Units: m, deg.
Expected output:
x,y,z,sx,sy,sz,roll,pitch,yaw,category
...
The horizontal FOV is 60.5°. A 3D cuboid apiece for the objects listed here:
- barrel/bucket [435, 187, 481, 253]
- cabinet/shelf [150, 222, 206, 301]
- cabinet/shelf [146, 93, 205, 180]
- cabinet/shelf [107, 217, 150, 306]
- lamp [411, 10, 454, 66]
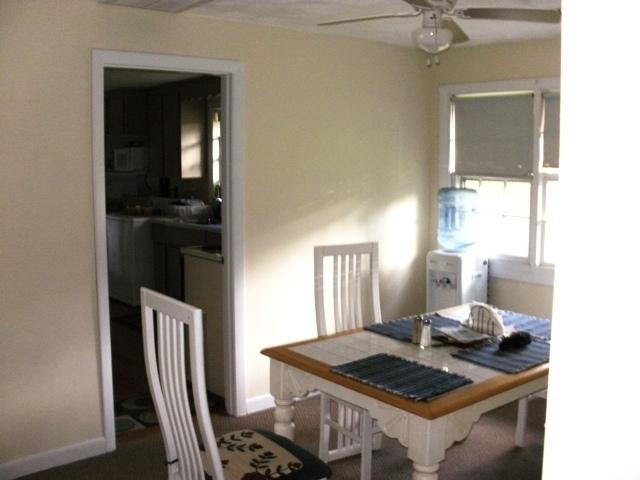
x,y,z,sx,sy,sz,roll,pitch,yaw,category
1.150,-0.175,4.537,0.335,0.518,0.348,0,-1,0,barrel/bucket
-1.478,0.207,5.820,0.379,0.712,0.535,-5,6,-28,cabinet/shelf
-1.536,-1.119,5.919,0.291,0.918,0.914,-5,10,-34,cabinet/shelf
-2.083,0.261,6.205,0.515,1.023,0.773,0,4,-39,cabinet/shelf
0.467,-0.840,2.366,0.209,0.257,0.209,0,3,5,lamp
